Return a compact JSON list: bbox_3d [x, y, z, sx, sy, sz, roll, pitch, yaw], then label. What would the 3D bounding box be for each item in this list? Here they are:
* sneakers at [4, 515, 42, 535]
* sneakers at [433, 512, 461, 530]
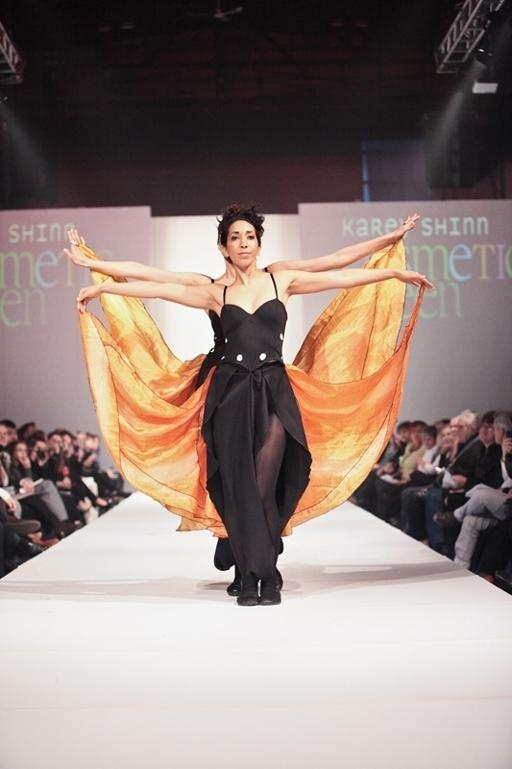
[{"bbox_3d":[-1.517,0.916,5.119,0.244,0.080,0.146,13,27,-21],"label":"sneakers"},{"bbox_3d":[1.155,0.826,4.821,0.074,0.065,0.180,1,0,-21],"label":"sneakers"}]
